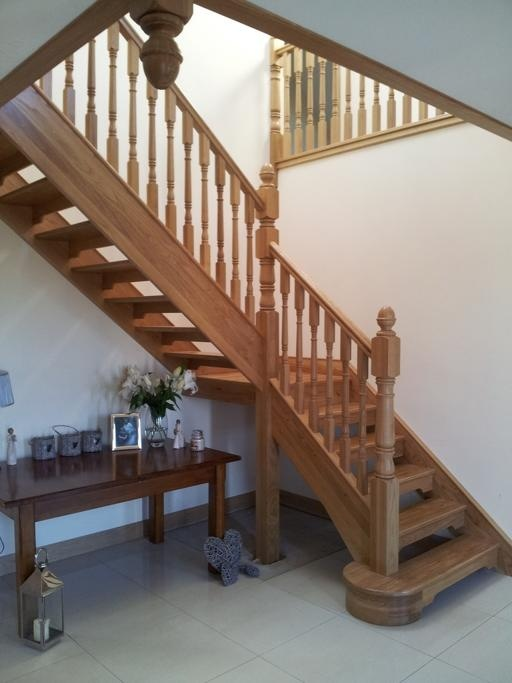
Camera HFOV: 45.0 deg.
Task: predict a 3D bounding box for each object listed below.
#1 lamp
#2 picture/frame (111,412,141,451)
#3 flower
[{"bbox_3d":[-0.924,1.121,2.651,0.183,0.388,0.233,0,2,-18],"label":"lamp"},{"bbox_3d":[-0.789,0.551,3.730,0.183,0.218,0.017,9,-24,-34],"label":"picture/frame"},{"bbox_3d":[-0.577,0.378,3.778,0.329,0.336,0.343,-3,-1,18],"label":"flower"}]
